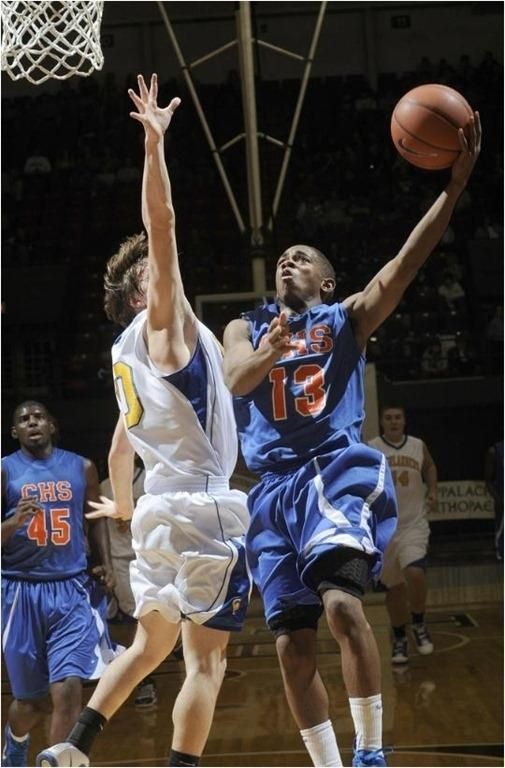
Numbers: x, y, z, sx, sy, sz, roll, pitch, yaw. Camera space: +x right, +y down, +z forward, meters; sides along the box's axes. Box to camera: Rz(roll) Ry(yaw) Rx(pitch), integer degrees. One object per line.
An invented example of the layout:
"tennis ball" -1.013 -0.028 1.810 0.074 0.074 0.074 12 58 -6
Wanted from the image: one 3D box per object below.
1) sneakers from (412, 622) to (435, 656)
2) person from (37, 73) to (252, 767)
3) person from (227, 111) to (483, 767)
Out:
"sneakers" 0.895 1.355 4.032 0.069 0.074 0.188 -12 35 2
"person" -0.264 0.067 1.986 0.464 1.619 0.445 -2 1 5
"person" 0.170 0.225 1.925 0.559 1.256 0.464 -2 1 43
